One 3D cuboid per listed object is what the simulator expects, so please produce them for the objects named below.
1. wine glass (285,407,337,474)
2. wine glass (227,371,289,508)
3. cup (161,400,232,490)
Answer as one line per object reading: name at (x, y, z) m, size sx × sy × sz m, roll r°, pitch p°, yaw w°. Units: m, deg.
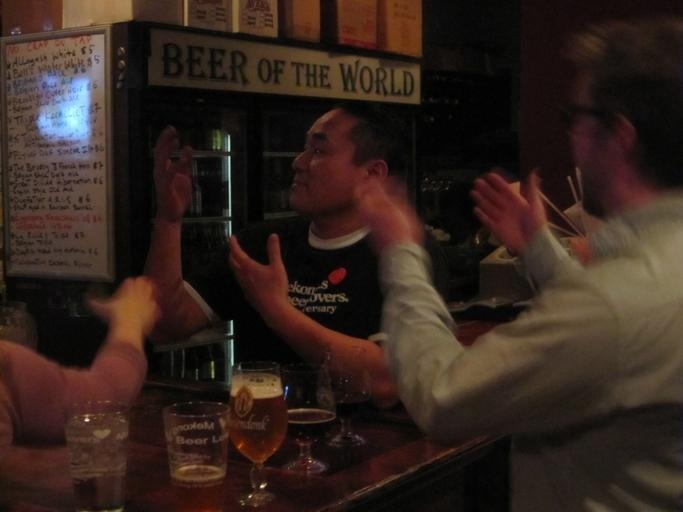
wine glass at (-0.074, 0.399, 1.563) m, size 0.123 × 0.132 × 0.124 m, roll -3°, pitch 6°, yaw -12°
wine glass at (-0.179, 0.356, 1.502) m, size 0.114 × 0.250 × 0.289 m, roll 0°, pitch 11°, yaw -7°
cup at (-0.281, 0.370, 1.440) m, size 0.147 × 0.157 × 0.140 m, roll 1°, pitch 1°, yaw 0°
